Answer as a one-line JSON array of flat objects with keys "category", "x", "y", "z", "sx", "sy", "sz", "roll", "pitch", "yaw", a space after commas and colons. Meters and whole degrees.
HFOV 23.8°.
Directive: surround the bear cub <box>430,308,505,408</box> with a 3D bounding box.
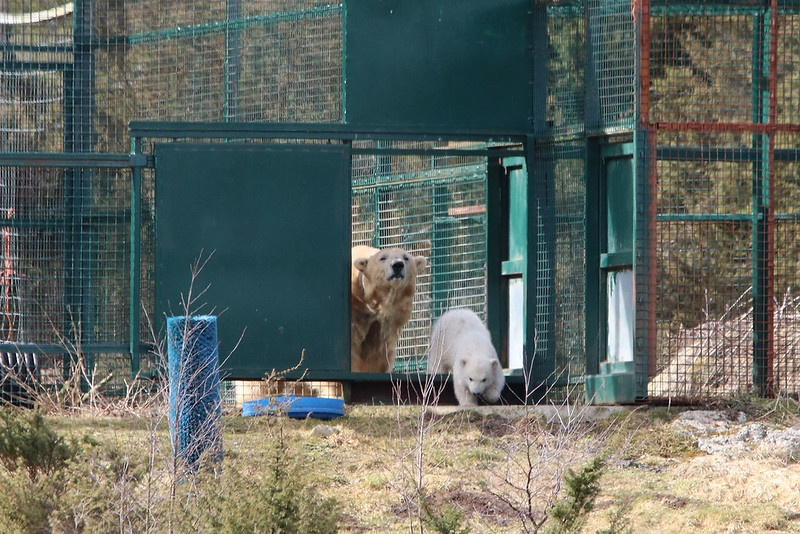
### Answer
[{"category": "bear cub", "x": 0.820, "y": 1.155, "z": 23.383, "sx": 0.567, "sy": 0.941, "sz": 1.534, "roll": -11, "pitch": 28, "yaw": -14}]
